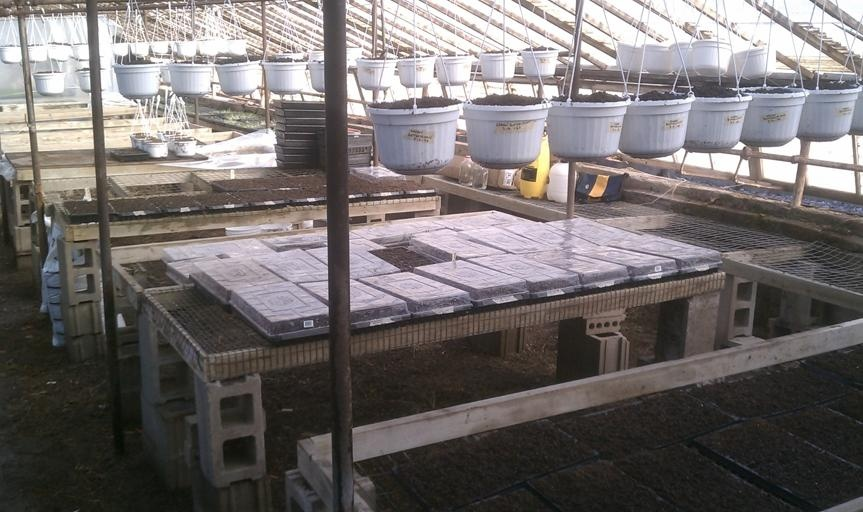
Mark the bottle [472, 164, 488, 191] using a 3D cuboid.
[{"bbox_3d":[0.615,-0.967,8.651,0.191,0.267,0.320,3,21,9],"label":"bottle"}]
